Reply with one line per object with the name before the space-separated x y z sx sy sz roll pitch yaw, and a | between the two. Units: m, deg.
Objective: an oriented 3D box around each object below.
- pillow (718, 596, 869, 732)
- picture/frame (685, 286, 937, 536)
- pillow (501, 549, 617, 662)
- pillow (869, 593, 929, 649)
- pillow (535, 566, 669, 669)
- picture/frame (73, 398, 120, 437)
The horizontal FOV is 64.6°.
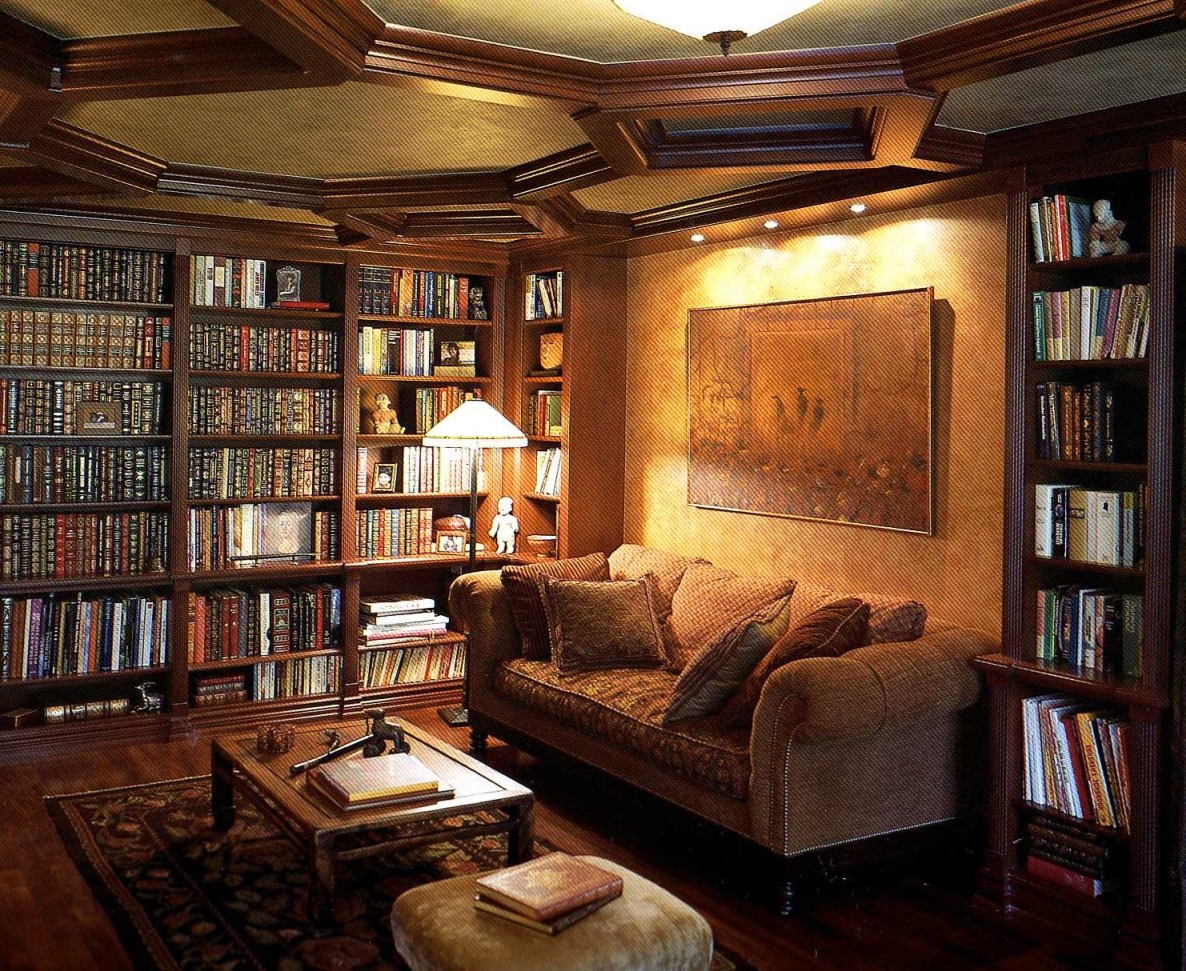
pillow | 0.788 0.695 3.635 0.594 0.507 0.286 2 3 5
picture/frame | 1.069 -0.360 4.450 0.065 0.934 1.718 -4 4 -42
pillow | -0.231 0.615 4.782 0.615 0.461 0.216 -4 -20 -30
pillow | 1.196 0.534 3.687 0.235 0.075 0.193 -3 14 8
pillow | 0.052 0.623 4.378 0.583 0.405 0.136 -4 -27 -13
picture/frame | -2.570 -0.359 4.888 0.247 0.164 0.055 -3 -4 -29
